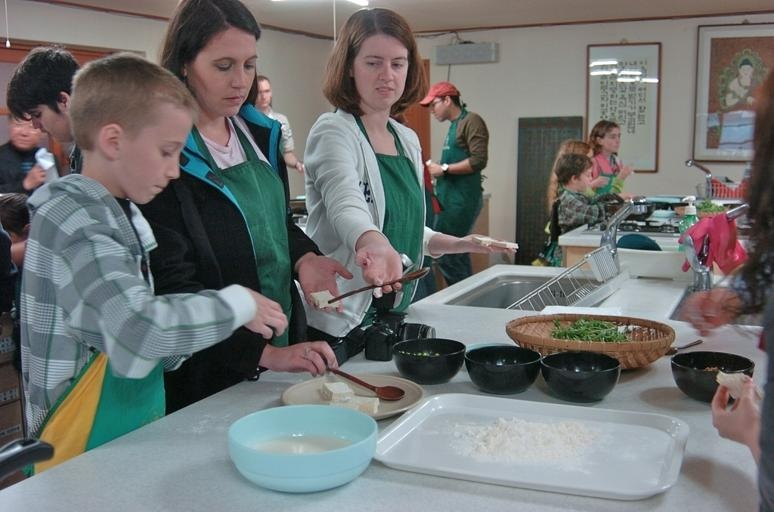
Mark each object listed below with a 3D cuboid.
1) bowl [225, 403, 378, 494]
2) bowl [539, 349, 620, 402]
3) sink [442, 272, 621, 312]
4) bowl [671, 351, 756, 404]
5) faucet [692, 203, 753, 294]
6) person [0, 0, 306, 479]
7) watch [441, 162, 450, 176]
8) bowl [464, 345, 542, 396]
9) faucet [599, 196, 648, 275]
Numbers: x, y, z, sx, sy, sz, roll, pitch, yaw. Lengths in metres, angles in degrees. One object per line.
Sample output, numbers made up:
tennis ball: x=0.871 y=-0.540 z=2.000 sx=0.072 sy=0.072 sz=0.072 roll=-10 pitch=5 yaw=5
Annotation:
bowl: x=-0.176 y=0.404 z=1.228 sx=0.301 sy=0.128 sz=0.177 roll=0 pitch=11 yaw=-3
bowl: x=0.516 y=0.336 z=1.559 sx=0.211 sy=0.094 sz=0.210 roll=0 pitch=-5 yaw=0
sink: x=0.638 y=0.202 z=3.066 sx=0.472 sy=0.159 sz=0.321 roll=2 pitch=-14 yaw=-39
bowl: x=0.822 y=0.304 z=1.501 sx=0.171 sy=0.082 sz=0.169 roll=-4 pitch=7 yaw=0
faucet: x=1.475 y=-0.047 z=2.564 sx=0.164 sy=0.429 sz=0.308 roll=-22 pitch=17 yaw=-35
person: x=-0.705 y=-0.181 z=2.183 sx=0.993 sy=1.942 sz=0.853 roll=-3 pitch=14 yaw=-10
watch: x=0.525 y=-0.809 z=5.391 sx=0.075 sy=0.098 sz=0.111 roll=3 pitch=2 yaw=-1
bowl: x=0.306 y=0.316 z=1.617 sx=0.216 sy=0.093 sz=0.217 roll=-4 pitch=7 yaw=1
faucet: x=1.362 y=-0.116 z=3.395 sx=0.234 sy=0.611 sz=0.159 roll=-3 pitch=47 yaw=14
